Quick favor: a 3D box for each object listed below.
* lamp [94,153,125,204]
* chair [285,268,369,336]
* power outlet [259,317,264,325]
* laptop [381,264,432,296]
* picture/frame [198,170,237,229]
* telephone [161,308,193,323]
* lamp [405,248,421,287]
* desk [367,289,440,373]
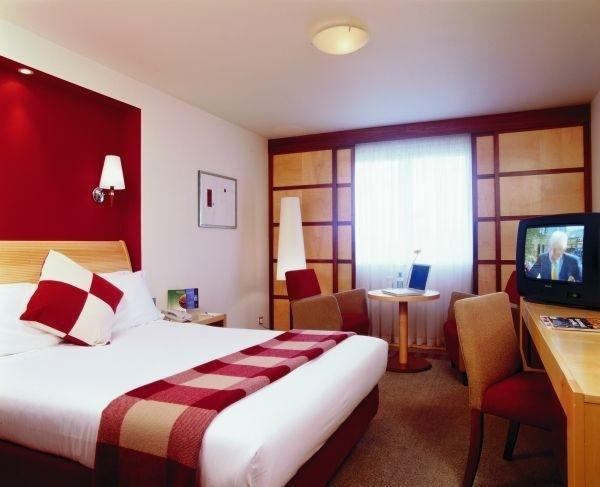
[{"bbox_3d":[-1.658,-0.564,4.080,0.313,0.430,0.282,-4,8,-42],"label":"lamp"},{"bbox_3d":[0.313,0.579,4.966,0.781,0.934,0.655,-5,-5,33],"label":"chair"},{"bbox_3d":[-0.509,1.005,6.069,0.081,0.108,0.073,0,-1,25],"label":"power outlet"},{"bbox_3d":[1.099,0.364,4.788,0.484,0.327,0.503,2,-1,-38],"label":"laptop"},{"bbox_3d":[-0.932,-0.488,5.272,0.017,0.588,0.677,1,0,29],"label":"picture/frame"},{"bbox_3d":[-1.116,0.637,4.113,0.193,0.062,0.144,6,-2,13],"label":"telephone"},{"bbox_3d":[1.288,0.264,5.241,0.088,0.444,0.077,19,-8,-43],"label":"lamp"},{"bbox_3d":[1.064,0.891,4.790,0.695,0.736,0.696,-1,-3,24],"label":"desk"}]
